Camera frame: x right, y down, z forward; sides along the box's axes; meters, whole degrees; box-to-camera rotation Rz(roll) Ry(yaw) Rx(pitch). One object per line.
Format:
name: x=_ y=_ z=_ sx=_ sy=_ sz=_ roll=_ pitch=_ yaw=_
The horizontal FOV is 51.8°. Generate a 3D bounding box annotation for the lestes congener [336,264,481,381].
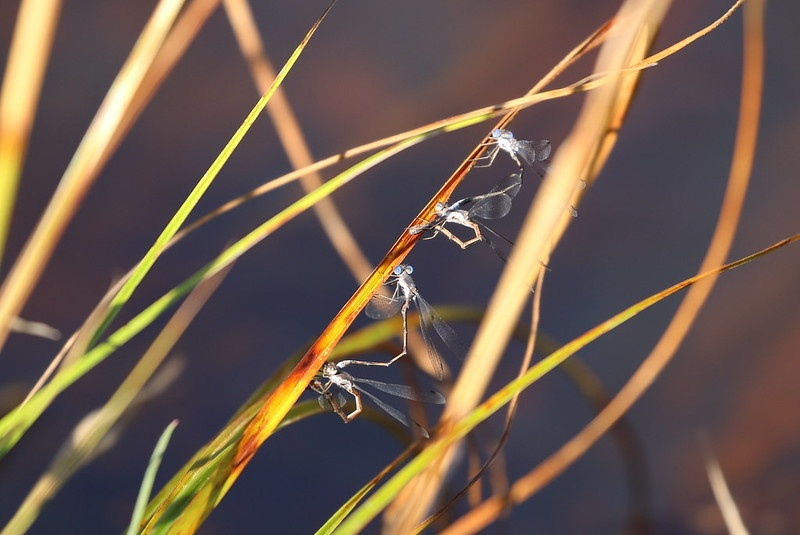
lestes congener: x=0.043 y=0.108 z=1.832 sx=0.229 sy=0.095 sz=0.251 roll=5 pitch=-82 yaw=24

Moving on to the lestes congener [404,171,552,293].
lestes congener: x=0.172 y=-0.133 z=1.851 sx=0.308 sy=0.148 sz=0.219 roll=8 pitch=-75 yaw=28

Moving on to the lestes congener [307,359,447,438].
lestes congener: x=-0.057 y=0.270 z=1.800 sx=0.237 sy=0.107 sz=0.177 roll=26 pitch=-31 yaw=15
